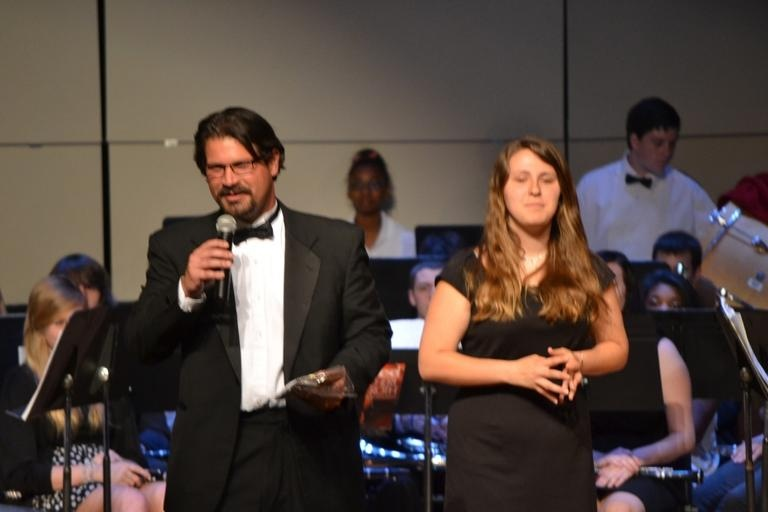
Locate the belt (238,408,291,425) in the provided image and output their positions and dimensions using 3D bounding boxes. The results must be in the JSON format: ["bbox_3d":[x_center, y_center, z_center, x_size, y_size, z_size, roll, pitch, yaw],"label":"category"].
[{"bbox_3d":[-0.574,0.777,4.229,0.221,0.087,0.024,-3,2,1],"label":"belt"}]

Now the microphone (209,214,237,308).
[{"bbox_3d":[-0.765,0.016,4.298,0.120,0.448,0.232,-3,2,-10],"label":"microphone"}]

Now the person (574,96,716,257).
[{"bbox_3d":[1.863,-0.525,6.164,1.145,1.077,0.607,-1,0,-5],"label":"person"}]
